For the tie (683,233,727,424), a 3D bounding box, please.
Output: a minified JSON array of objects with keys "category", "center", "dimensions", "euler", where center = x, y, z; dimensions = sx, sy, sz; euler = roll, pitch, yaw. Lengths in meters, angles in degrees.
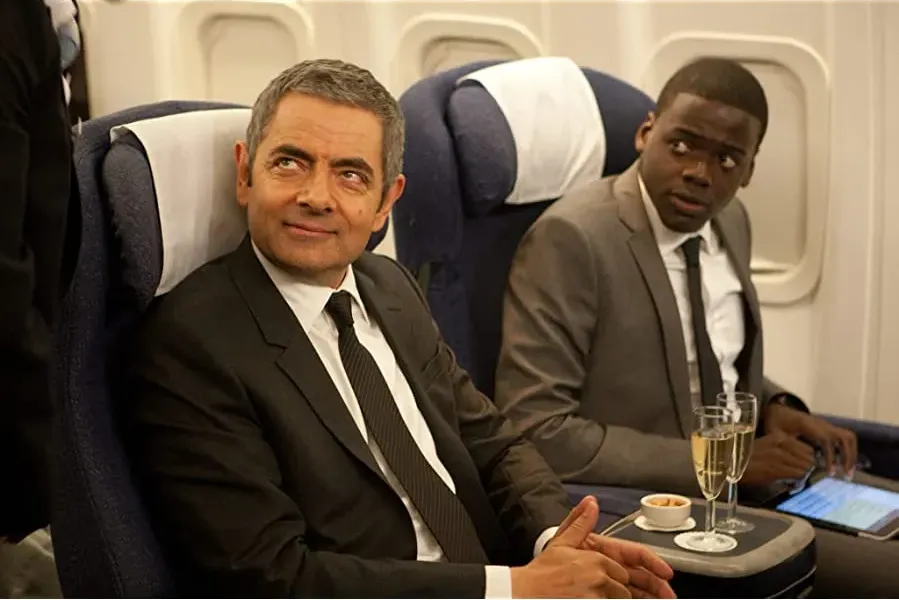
[{"category":"tie","center":[0.727,0.078,2.235],"dimensions":[0.100,0.507,0.066],"euler":[1,-11,-22]}]
